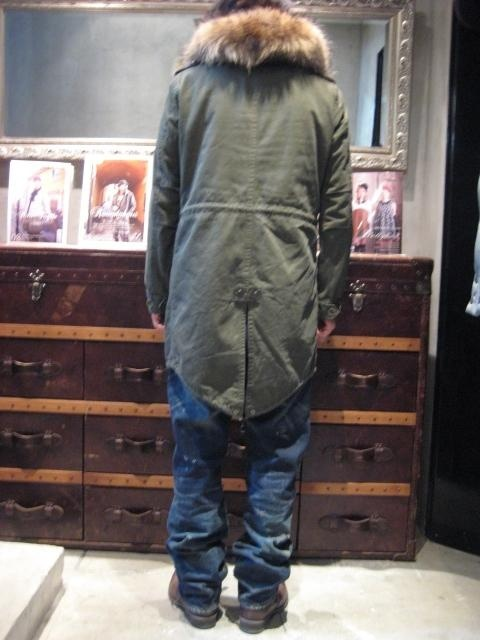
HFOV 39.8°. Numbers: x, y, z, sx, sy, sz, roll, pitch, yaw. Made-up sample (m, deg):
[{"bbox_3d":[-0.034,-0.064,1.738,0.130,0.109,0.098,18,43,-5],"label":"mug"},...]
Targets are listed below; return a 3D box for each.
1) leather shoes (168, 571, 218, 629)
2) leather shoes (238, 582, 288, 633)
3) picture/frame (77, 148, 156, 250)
[{"bbox_3d":[-0.117,0.718,1.688,0.061,0.081,0.164,-4,22,-17],"label":"leather shoes"},{"bbox_3d":[0.064,0.716,1.679,0.057,0.082,0.166,1,4,18],"label":"leather shoes"},{"bbox_3d":[-0.403,-0.387,2.203,0.230,0.355,0.010,2,-19,-5],"label":"picture/frame"}]
